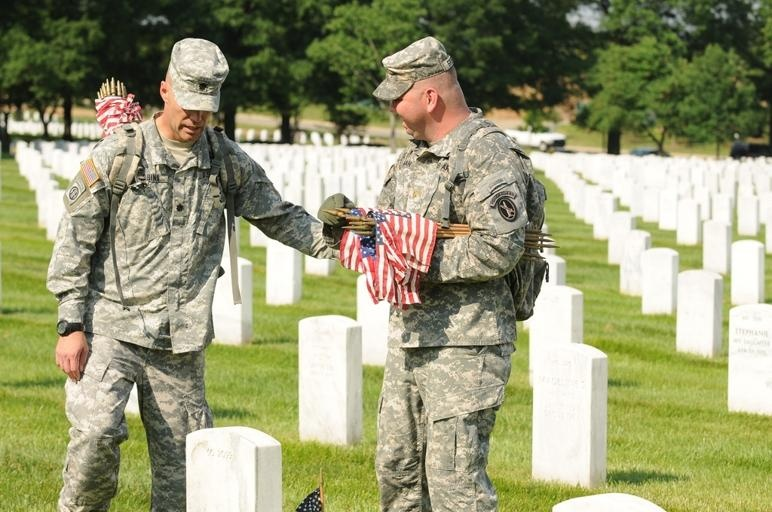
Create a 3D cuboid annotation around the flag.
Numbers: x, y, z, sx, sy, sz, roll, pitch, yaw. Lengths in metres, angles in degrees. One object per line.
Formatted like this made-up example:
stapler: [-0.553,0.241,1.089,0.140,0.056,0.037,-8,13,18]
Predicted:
flag: [-0.037,-0.061,39.147,1.340,2.193,1.525,-2,1,-25]
